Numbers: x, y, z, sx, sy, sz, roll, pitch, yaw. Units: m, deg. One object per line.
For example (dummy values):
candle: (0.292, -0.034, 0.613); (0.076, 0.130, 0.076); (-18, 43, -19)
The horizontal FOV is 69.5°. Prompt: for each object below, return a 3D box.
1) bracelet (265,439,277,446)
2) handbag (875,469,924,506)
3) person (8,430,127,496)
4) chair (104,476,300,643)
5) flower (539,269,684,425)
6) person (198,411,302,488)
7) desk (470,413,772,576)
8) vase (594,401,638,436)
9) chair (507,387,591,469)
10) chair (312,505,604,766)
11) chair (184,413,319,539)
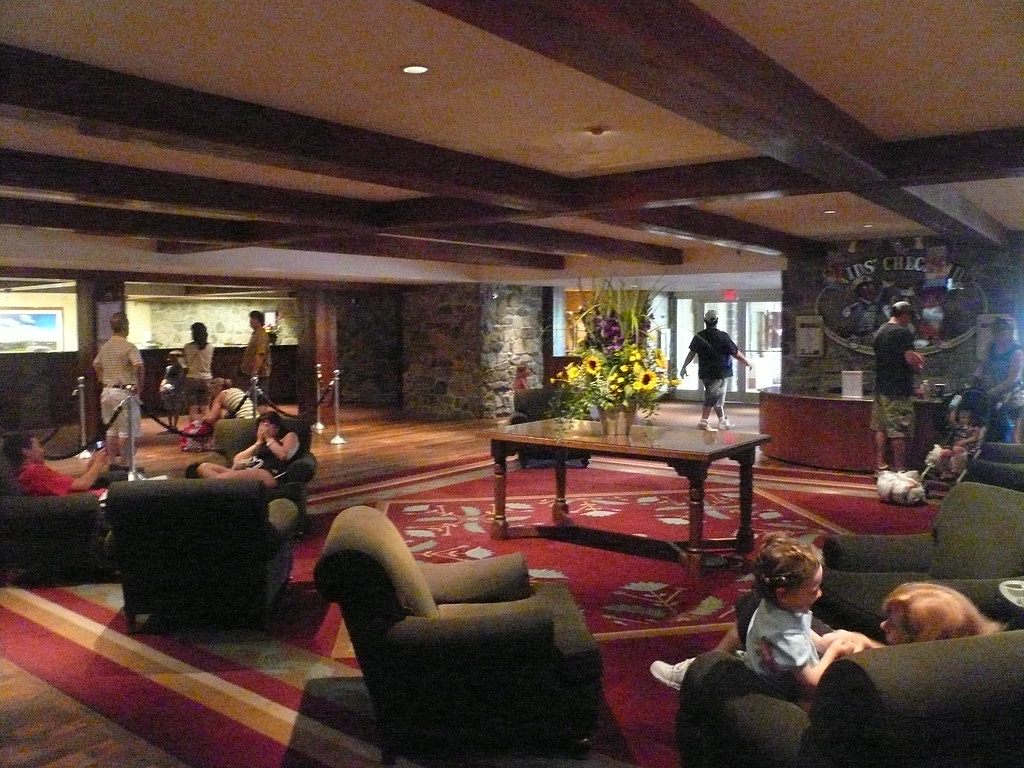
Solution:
bracelet: (-2.019, 0.490, 6.209); (0.088, 0.050, 0.068); (-2, 5, -19)
handbag: (3.817, 1.014, 7.246); (0.374, 0.274, 0.410); (-1, 1, 22)
person: (-3.266, 0.580, 5.539); (0.831, 0.388, 0.605); (-7, 11, -40)
chair: (-1.887, 0.991, 4.671); (1.453, 0.772, 1.081); (0, 3, 0)
flower: (0.870, -0.242, 6.076); (0.742, 1.160, 0.815); (-4, 9, -18)
person: (-2.263, 0.522, 6.134); (1.060, 0.588, 0.760); (1, -2, -42)
desk: (1.133, 0.668, 6.077); (2.918, 0.886, 1.333); (3, 9, 32)
vase: (0.870, 0.288, 6.090); (0.382, 0.169, 0.312); (0, -1, 17)
chair: (0.451, 0.486, 9.342); (1.024, 0.660, 0.739); (7, 20, 5)
chair: (-0.269, 1.137, 3.590); (1.504, 0.672, 0.982); (6, 3, -14)
chair: (-2.183, 0.721, 6.027); (1.210, 0.779, 0.920); (0, 3, 14)
